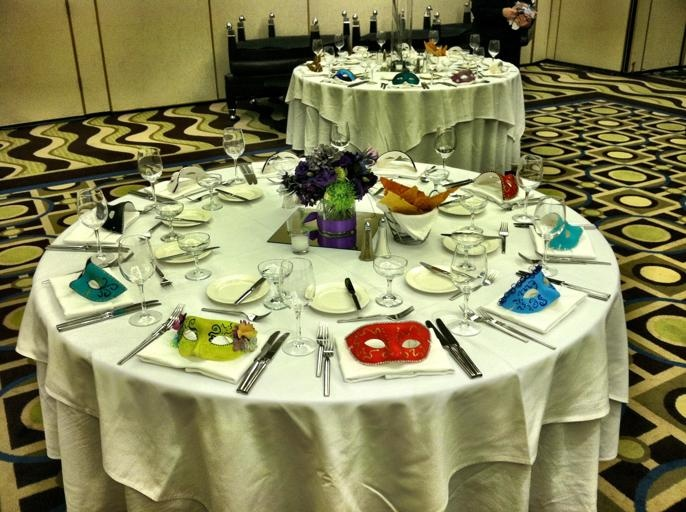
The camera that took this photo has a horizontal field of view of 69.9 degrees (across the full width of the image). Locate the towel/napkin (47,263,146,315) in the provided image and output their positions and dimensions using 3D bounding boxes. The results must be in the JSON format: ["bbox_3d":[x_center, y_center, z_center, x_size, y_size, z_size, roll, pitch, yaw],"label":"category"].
[{"bbox_3d":[-0.891,0.105,1.749,0.220,0.030,0.226,-11,32,-28],"label":"towel/napkin"}]

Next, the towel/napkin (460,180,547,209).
[{"bbox_3d":[0.806,-0.312,2.485,0.226,0.048,0.222,-12,34,-22],"label":"towel/napkin"}]

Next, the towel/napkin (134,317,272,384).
[{"bbox_3d":[-0.433,0.293,1.550,0.335,0.086,0.190,5,22,16],"label":"towel/napkin"}]

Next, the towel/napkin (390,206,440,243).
[{"bbox_3d":[0.301,-0.137,2.115,0.161,0.100,0.157,13,25,28],"label":"towel/napkin"}]

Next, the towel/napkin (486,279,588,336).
[{"bbox_3d":[0.651,0.178,1.687,0.223,0.023,0.167,-24,30,-34],"label":"towel/napkin"}]

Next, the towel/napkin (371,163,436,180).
[{"bbox_3d":[0.330,-0.470,2.734,0.192,0.025,0.166,9,31,12],"label":"towel/napkin"}]

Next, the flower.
[{"bbox_3d":[-0.052,-0.321,2.138,0.337,0.270,0.333,-9,7,30],"label":"flower"}]

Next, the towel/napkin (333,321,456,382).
[{"bbox_3d":[0.150,0.279,1.540,0.348,0.098,0.234,-3,21,-5],"label":"towel/napkin"}]
